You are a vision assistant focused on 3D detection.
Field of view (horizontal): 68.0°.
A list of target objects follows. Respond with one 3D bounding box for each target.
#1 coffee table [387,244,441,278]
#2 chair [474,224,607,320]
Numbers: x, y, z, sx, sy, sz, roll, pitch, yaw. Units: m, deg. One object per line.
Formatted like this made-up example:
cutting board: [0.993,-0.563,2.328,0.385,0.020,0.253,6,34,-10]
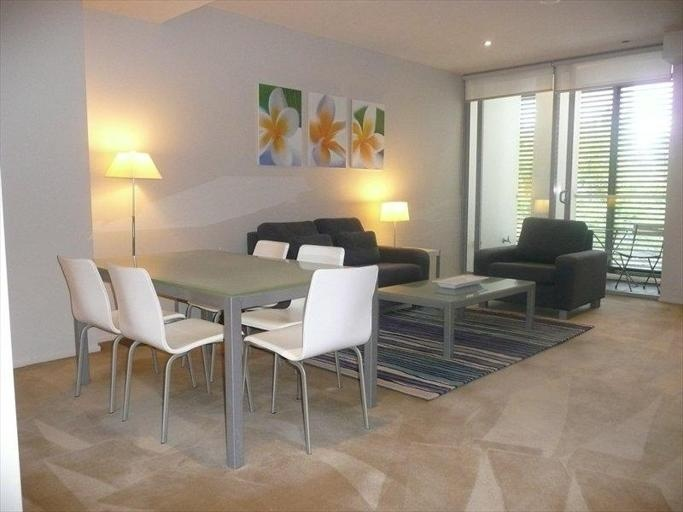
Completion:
coffee table: [0.883,0.038,5.792,0.468,0.371,0.431,-9,12,-42]
chair: [2.245,0.091,5.664,1.249,1.013,1.016,4,9,40]
